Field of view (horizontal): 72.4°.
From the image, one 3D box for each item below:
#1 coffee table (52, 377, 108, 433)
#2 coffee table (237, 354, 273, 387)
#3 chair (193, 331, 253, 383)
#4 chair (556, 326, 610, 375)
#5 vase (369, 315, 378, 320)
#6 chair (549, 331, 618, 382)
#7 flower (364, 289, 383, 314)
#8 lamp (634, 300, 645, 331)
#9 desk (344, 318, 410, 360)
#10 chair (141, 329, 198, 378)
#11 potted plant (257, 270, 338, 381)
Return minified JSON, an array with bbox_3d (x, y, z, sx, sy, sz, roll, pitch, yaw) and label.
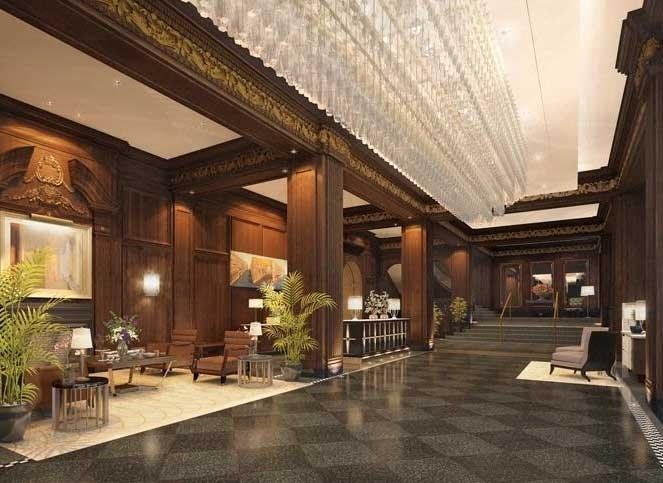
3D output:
[{"bbox_3d":[-3.636,2.304,6.562,0.694,0.686,0.743,1,-4,9],"label":"coffee table"},{"bbox_3d":[-1.466,2.637,9.214,0.706,0.568,0.733,9,-19,-16],"label":"coffee table"},{"bbox_3d":[-2.231,2.417,9.696,0.945,1.141,1.210,-5,-7,34],"label":"chair"},{"bbox_3d":[5.578,2.411,10.021,1.266,1.082,1.146,4,-4,-16],"label":"chair"},{"bbox_3d":[1.225,2.232,13.489,0.154,0.076,0.154,-1,-2,20],"label":"vase"},{"bbox_3d":[5.470,2.521,9.930,0.801,0.921,1.058,17,-13,-28],"label":"chair"},{"bbox_3d":[1.351,1.907,14.263,0.656,0.704,0.560,5,-7,-43],"label":"flower"},{"bbox_3d":[6.490,1.539,9.544,0.160,0.615,0.903,-3,-6,32],"label":"lamp"},{"bbox_3d":[1.415,2.816,13.502,0.611,1.079,3.204,-6,-10,35],"label":"desk"},{"bbox_3d":[-3.654,2.478,10.381,0.993,1.207,1.123,-4,-9,28],"label":"chair"},{"bbox_3d":[-0.712,1.670,9.440,1.361,2.132,0.545,1,-5,-8],"label":"potted plant"}]
